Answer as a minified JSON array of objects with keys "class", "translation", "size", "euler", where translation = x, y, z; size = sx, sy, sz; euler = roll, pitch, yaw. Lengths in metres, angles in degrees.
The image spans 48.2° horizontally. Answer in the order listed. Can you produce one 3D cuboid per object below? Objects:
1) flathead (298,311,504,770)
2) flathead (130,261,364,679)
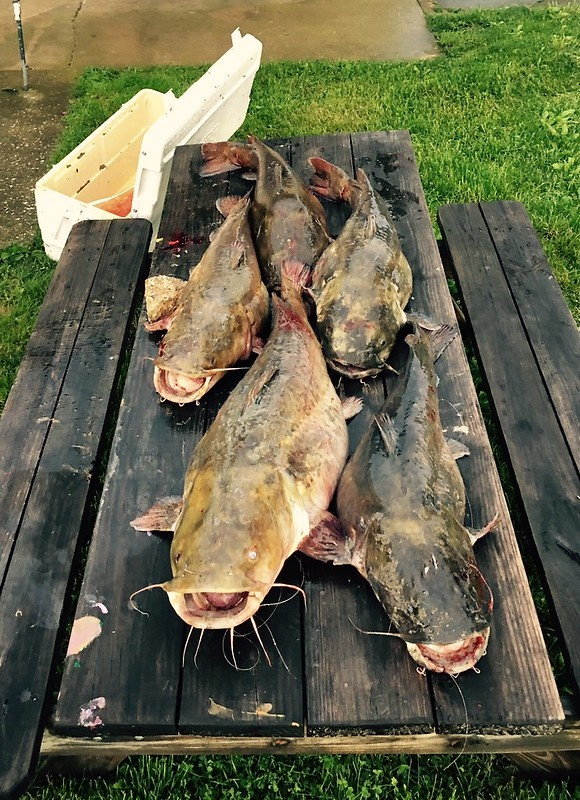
[{"class":"flathead","translation":[0.375,0.286,2.168],"size":[0.497,0.272,1.014],"euler":[-11,58,4]},{"class":"flathead","translation":[-0.100,0.256,2.196],"size":[0.574,0.317,1.085],"euler":[7,50,13]}]
